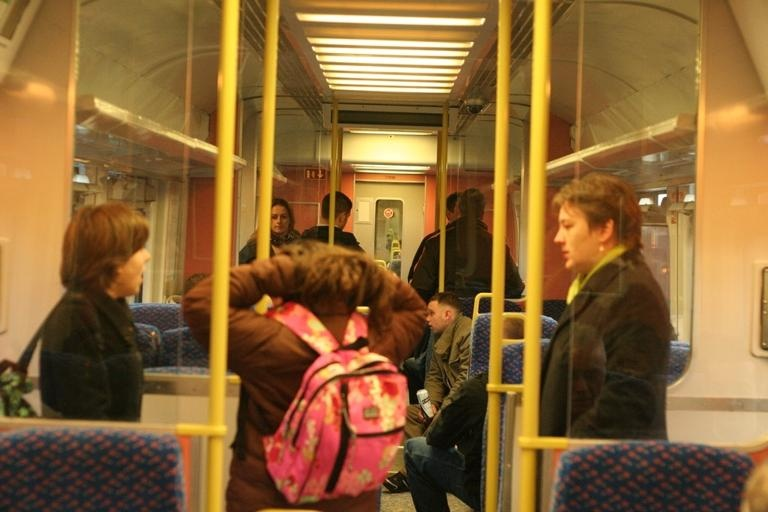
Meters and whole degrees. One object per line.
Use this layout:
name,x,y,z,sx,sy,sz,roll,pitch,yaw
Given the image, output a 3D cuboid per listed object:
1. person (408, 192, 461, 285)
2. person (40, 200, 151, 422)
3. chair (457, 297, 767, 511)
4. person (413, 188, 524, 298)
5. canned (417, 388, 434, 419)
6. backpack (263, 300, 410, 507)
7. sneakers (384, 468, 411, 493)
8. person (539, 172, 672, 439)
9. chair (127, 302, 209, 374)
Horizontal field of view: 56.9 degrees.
person,0.489,-0.228,7.014,0.746,0.748,0.319,-3,10,-44
person,-1.115,0.209,2.743,0.363,0.830,0.213,4,-6,-24
chair,1.031,0.678,3.058,1.005,0.660,1.048,0,-2,7
person,0.747,-0.114,6.607,0.450,1.046,1.261,5,-7,-33
canned,0.267,1.022,4.865,0.057,0.201,0.118,-17,5,29
backpack,-0.225,0.505,2.723,0.496,0.644,0.666,1,21,-40
sneakers,0.097,1.623,5.103,0.100,0.136,0.314,-10,-22,29
person,0.832,0.185,2.670,0.469,0.982,0.184,0,-6,12
chair,-0.928,0.359,3.065,0.294,0.288,0.288,4,-8,-20
